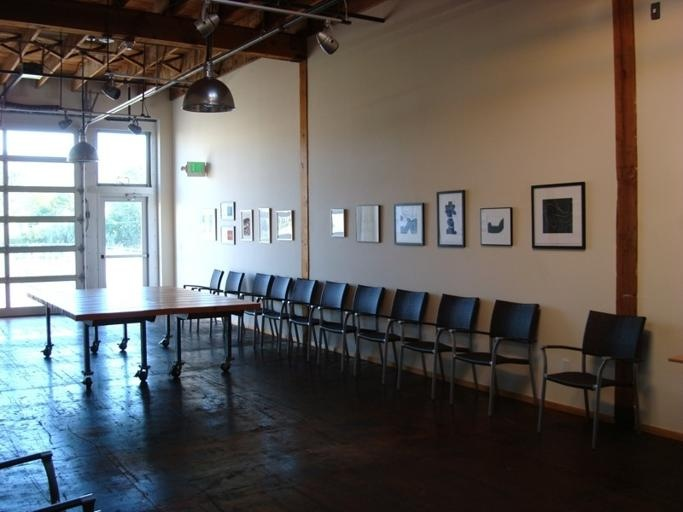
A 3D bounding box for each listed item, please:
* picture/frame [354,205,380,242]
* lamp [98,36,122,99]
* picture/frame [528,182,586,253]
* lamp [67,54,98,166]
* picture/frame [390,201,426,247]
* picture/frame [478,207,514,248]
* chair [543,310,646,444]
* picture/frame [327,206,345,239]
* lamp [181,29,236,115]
[{"bbox_3d":[0.371,-0.454,7.673,0.057,0.601,0.467,3,-4,-34],"label":"picture/frame"},{"bbox_3d":[-3.884,-3.147,9.145,0.273,1.038,0.258,-2,3,-34],"label":"lamp"},{"bbox_3d":[2.223,-0.395,5.611,0.054,0.887,0.659,3,-1,-40],"label":"picture/frame"},{"bbox_3d":[-4.296,-2.258,9.130,0.383,1.402,0.421,-1,0,29],"label":"lamp"},{"bbox_3d":[0.877,-0.413,7.100,0.061,0.646,0.558,3,-2,-35],"label":"picture/frame"},{"bbox_3d":[1.730,-0.324,6.168,0.331,0.442,0.043,2,-14,8],"label":"picture/frame"},{"bbox_3d":[2.301,1.090,5.137,0.874,1.115,0.800,3,3,36],"label":"chair"},{"bbox_3d":[-0.070,-0.503,8.175,0.042,0.609,0.453,1,-1,-33],"label":"picture/frame"},{"bbox_3d":[-1.320,-2.065,5.519,0.456,1.149,0.473,1,5,-1],"label":"lamp"}]
